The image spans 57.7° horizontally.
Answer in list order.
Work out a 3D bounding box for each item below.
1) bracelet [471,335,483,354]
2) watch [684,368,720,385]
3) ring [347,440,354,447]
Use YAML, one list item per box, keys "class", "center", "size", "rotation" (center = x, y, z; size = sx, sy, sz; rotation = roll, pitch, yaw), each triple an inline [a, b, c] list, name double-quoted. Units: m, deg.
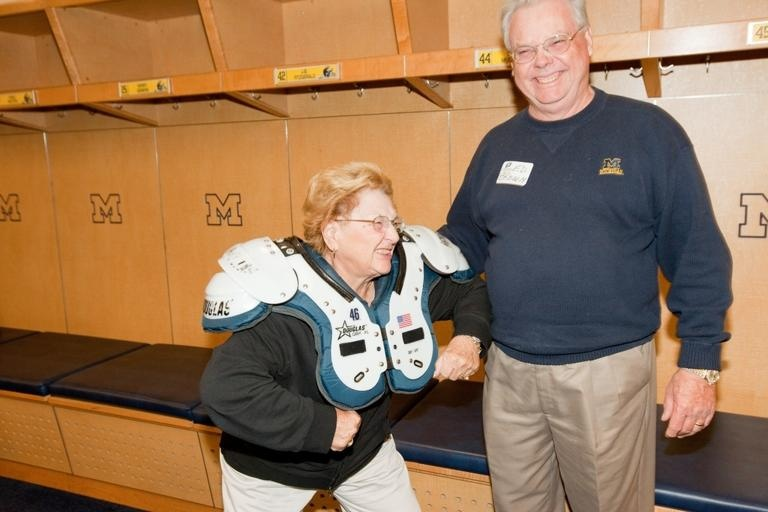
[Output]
- class: "bracelet"
  center: [0.429, 0.396, 3.151]
  size: [0.031, 0.072, 0.055]
  rotation: [-29, 29, -12]
- class: "watch"
  center: [1.350, 0.491, 2.941]
  size: [0.096, 0.052, 0.076]
  rotation: [23, 1, 7]
- class: "ring"
  center: [-0.143, 0.791, 2.959]
  size: [0.021, 0.023, 0.058]
  rotation: [2, -6, 5]
